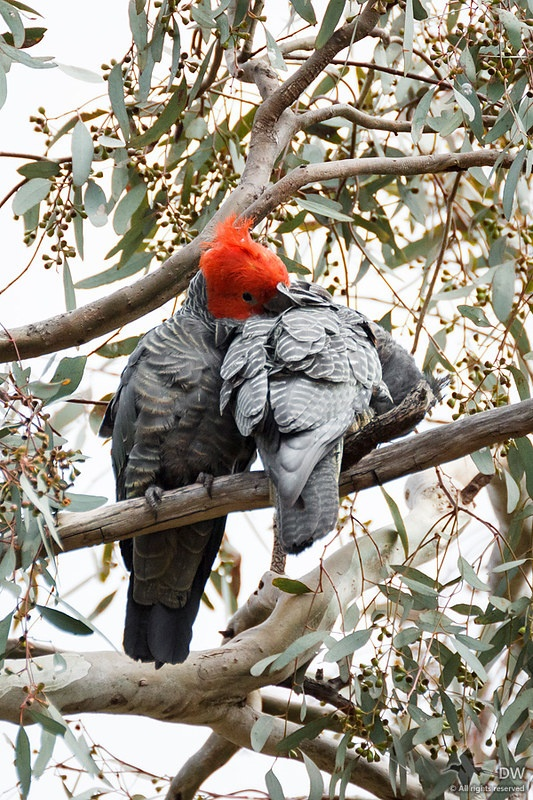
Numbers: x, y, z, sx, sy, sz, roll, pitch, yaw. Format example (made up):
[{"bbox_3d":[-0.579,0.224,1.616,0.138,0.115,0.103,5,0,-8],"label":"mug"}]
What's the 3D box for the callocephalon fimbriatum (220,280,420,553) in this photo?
[{"bbox_3d":[0.099,-0.010,2.202,0.371,0.693,0.231,2,-54,2],"label":"callocephalon fimbriatum"}]
